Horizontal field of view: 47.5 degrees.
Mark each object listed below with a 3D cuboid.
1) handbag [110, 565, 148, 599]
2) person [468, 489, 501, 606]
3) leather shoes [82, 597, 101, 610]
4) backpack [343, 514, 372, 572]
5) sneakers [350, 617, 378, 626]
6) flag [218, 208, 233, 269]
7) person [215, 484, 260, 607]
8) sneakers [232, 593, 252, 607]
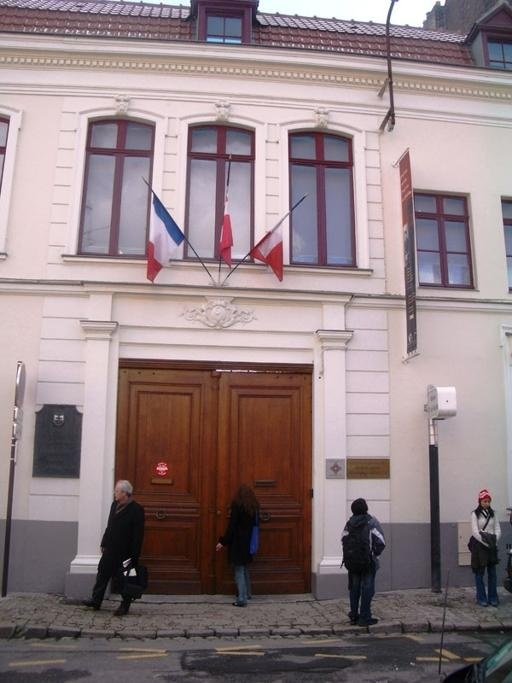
[{"bbox_3d":[-1.487,2.797,6.755,0.416,0.405,0.207,-5,-12,30],"label":"handbag"},{"bbox_3d":[2.987,2.693,7.648,0.367,1.390,0.483,-4,-11,26],"label":"person"},{"bbox_3d":[-1.972,3.143,6.975,0.187,0.139,0.075,32,-24,4],"label":"leather shoes"},{"bbox_3d":[1.189,2.339,6.712,0.358,0.642,0.387,14,-21,-33],"label":"backpack"},{"bbox_3d":[1.191,3.135,6.493,0.321,0.089,0.244,-1,-10,12],"label":"sneakers"},{"bbox_3d":[-0.457,-1.587,8.763,0.186,0.984,0.513,1,-10,-3],"label":"flag"},{"bbox_3d":[-0.235,2.673,7.684,0.506,1.531,0.737,1,-10,0],"label":"person"},{"bbox_3d":[-0.196,3.375,7.555,0.251,0.124,0.117,3,-4,25],"label":"sneakers"}]
